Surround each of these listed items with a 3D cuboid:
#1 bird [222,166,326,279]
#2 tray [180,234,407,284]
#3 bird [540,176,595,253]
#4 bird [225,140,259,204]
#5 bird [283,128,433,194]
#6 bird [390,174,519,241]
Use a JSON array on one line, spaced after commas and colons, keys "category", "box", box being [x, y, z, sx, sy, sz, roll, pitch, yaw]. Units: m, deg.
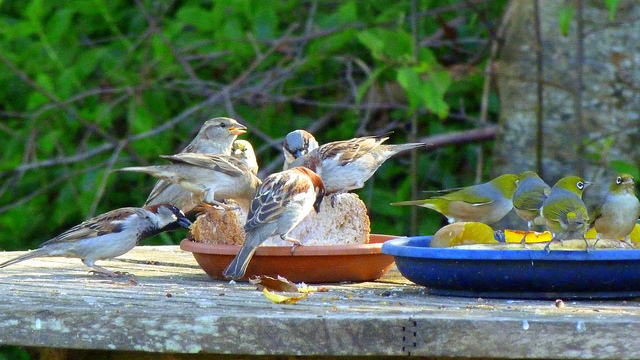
[{"category": "bird", "box": [-0.313, 0.242, 5.205, 0.365, 0.561, 1.014, -1, 11, 35]}, {"category": "tray", "box": [-0.282, 0.566, 5.659, 1.759, 0.276, 1.663, 1, -2, 8]}, {"category": "bird", "box": [1.432, 0.167, 4.563, 0.197, 0.522, 0.263, 2, 2, 28]}, {"category": "bird", "box": [-0.693, -0.146, 6.721, 0.278, 0.433, 0.389, 6, 14, 1]}, {"category": "bird", "box": [0.341, -0.181, 7.029, 1.363, 0.517, 0.363, -18, 4, -22]}, {"category": "bird", "box": [0.910, 0.137, 5.186, 0.861, 0.421, 0.286, 5, 7, 19]}]
